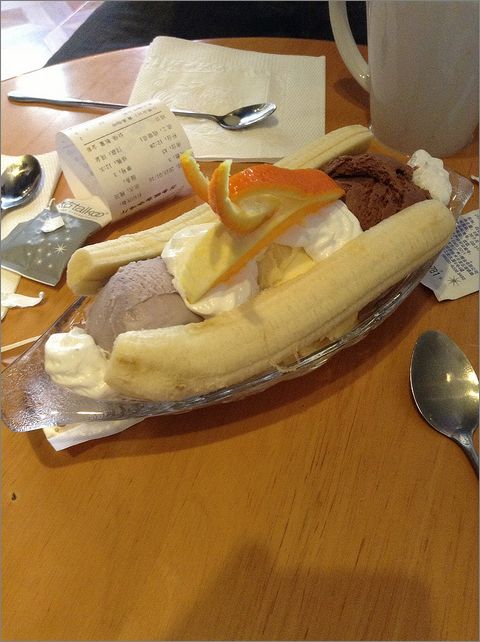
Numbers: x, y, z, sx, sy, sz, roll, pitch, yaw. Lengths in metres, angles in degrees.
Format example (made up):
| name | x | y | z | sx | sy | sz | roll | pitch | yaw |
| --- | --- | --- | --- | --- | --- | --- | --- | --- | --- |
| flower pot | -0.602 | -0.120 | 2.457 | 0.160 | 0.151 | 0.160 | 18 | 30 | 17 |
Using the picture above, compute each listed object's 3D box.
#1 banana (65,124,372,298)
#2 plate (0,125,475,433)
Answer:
| name | x | y | z | sx | sy | sz | roll | pitch | yaw |
| --- | --- | --- | --- | --- | --- | --- | --- | --- | --- |
| banana | -0.052 | -0.175 | 0.932 | 0.654 | 0.121 | 0.107 | -29 | 23 | -19 |
| plate | 0.021 | 0.000 | 0.842 | 0.662 | 0.107 | 0.280 | -35 | 35 | -10 |
